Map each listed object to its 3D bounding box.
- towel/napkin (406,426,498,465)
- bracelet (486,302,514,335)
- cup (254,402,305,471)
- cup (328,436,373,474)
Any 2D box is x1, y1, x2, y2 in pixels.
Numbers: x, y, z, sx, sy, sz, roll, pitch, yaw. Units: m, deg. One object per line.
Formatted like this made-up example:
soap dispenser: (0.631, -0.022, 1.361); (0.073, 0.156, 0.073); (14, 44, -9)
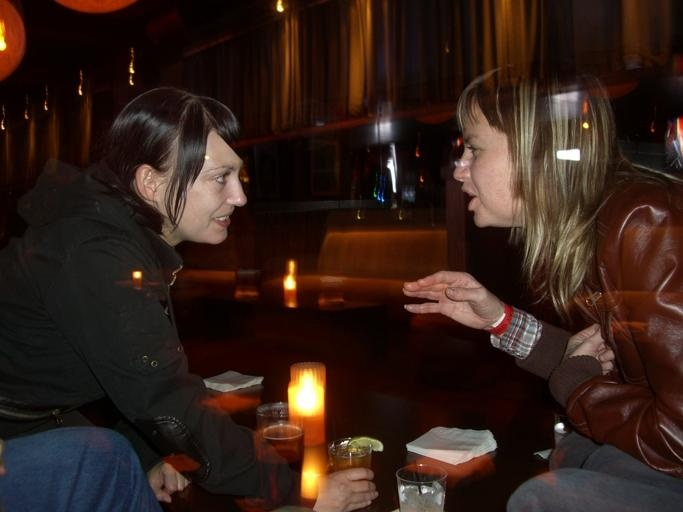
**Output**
towel/napkin: (0.326, 0.559, 1.637); (0.223, 0.049, 0.175); (-5, 5, -36)
bracelet: (0.602, 0.240, 2.110); (0.041, 0.104, 0.091); (41, -12, -4)
cup: (-0.214, 0.561, 1.737); (0.192, 0.194, 0.169); (9, -23, -25)
cup: (0.018, 0.586, 1.625); (0.140, 0.115, 0.149); (0, -20, 0)
